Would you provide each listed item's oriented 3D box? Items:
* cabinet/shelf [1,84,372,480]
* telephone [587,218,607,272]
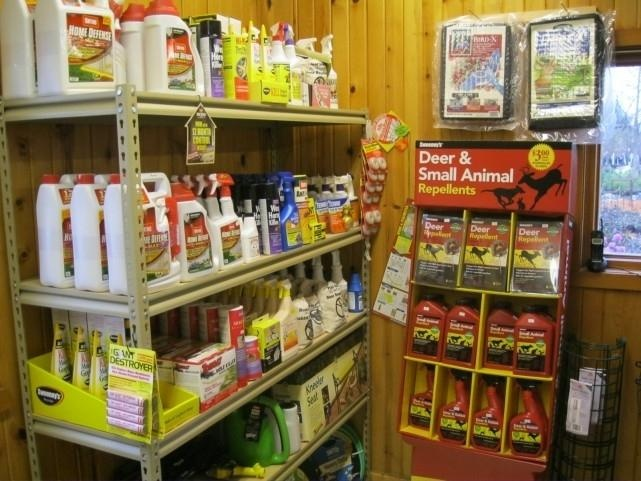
[{"bbox_3d":[-0.497,0.247,2.599,0.746,1.855,1.668,6,13,31],"label":"cabinet/shelf"},{"bbox_3d":[1.504,0.062,2.929,0.088,0.219,0.096,5,12,31],"label":"telephone"}]
